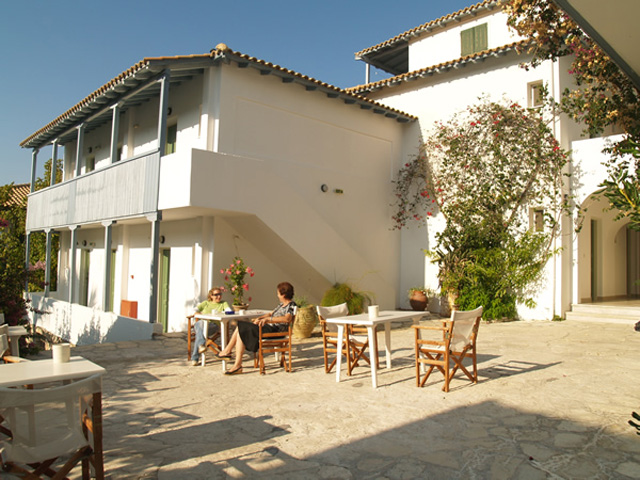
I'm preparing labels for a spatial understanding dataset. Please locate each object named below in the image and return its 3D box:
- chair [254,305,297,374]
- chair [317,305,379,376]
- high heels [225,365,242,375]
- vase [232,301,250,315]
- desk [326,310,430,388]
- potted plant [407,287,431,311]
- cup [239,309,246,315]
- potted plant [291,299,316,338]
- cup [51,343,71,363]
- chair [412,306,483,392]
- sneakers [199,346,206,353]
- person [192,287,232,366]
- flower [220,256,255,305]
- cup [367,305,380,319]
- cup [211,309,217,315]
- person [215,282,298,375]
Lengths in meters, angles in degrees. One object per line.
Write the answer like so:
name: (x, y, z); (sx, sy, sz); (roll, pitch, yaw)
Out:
chair: (-0.828, 1.769, 10.221); (0.724, 1.061, 0.715); (2, -1, -37)
chair: (0.458, 1.721, 10.126); (0.859, 1.183, 0.707); (-3, -1, -42)
high heels: (-1.501, 2.243, 9.875); (0.320, 0.151, 0.109); (15, -21, -41)
vase: (-1.736, 1.498, 12.502); (0.305, 0.240, 0.322); (4, -10, -24)
desk: (0.915, 2.126, 9.627); (0.993, 1.371, 1.917); (-3, -4, 33)
potted plant: (2.873, 1.717, 16.595); (0.520, 0.696, 0.567); (1, -3, -6)
cup: (-1.480, 1.380, 10.909); (0.105, 0.085, 0.085); (-7, -8, 11)
potted plant: (-0.362, 1.912, 13.458); (0.607, 0.805, 0.794); (3, -7, -12)
cup: (-3.031, 1.314, 6.727); (0.211, 0.213, 0.204); (0, -1, 0)
chair: (2.060, 1.712, 9.185); (0.823, 1.298, 0.933); (-1, 1, 38)
sneakers: (-2.124, 1.984, 10.409); (0.128, 0.147, 0.079); (0, -23, -6)
person: (-2.094, 1.717, 11.088); (0.787, 1.915, 1.077); (-1, -26, -3)
flower: (-1.952, 1.102, 13.072); (0.748, 1.156, 0.719); (-9, 1, 32)
cup: (0.870, 1.175, 9.282); (0.185, 0.212, 0.179); (0, -3, 0)
cup: (-1.983, 1.349, 10.739); (0.079, 0.106, 0.092); (-1, -4, -10)
person: (-1.066, 1.543, 10.075); (1.324, 1.546, 0.674); (0, -6, -12)
